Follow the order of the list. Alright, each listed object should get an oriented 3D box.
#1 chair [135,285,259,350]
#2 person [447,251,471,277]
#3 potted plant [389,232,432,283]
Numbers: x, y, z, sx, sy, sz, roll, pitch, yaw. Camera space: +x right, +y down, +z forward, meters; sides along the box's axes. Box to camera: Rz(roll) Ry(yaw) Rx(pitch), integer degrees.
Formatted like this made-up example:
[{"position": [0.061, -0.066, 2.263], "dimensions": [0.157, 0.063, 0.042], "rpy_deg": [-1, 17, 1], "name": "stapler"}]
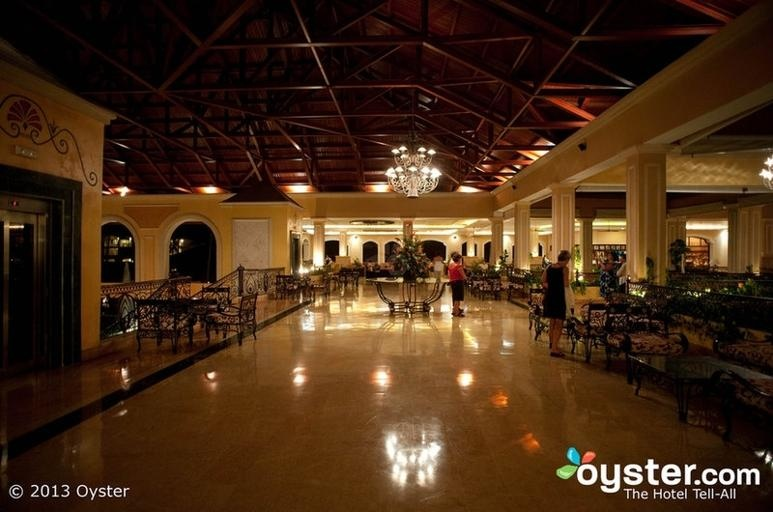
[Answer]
[{"position": [-3.930, 1.202, 9.328], "dimensions": [1.622, 0.765, 1.680], "rpy_deg": [0, 0, 11], "name": "chair"}, {"position": [1.769, 0.288, 11.961], "dimensions": [0.362, 0.748, 1.162], "rpy_deg": [1, 5, 9], "name": "person"}, {"position": [0.605, 0.116, 12.370], "dimensions": [1.107, 1.412, 1.073], "rpy_deg": [0, -22, -4], "name": "potted plant"}]
